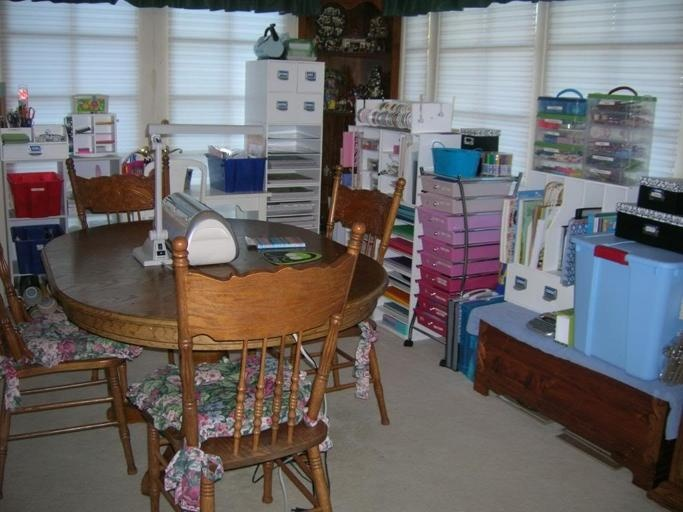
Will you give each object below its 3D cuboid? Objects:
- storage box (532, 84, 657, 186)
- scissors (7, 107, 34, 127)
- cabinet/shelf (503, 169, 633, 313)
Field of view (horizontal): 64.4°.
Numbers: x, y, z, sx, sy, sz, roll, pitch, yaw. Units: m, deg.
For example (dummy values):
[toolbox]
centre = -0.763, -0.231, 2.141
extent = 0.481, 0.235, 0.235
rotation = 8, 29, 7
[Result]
[storage box]
centre = 1.293, -0.632, 2.892
extent = 0.613, 0.453, 0.175
rotation = 14, 22, 42
[scissors]
centre = -2.313, -1.009, 3.925
extent = 0.167, 0.139, 0.255
rotation = -9, 18, -28
[cabinet/shelf]
centre = 1.158, -0.076, 2.759
extent = 0.328, 0.666, 0.741
rotation = -1, 9, -16
